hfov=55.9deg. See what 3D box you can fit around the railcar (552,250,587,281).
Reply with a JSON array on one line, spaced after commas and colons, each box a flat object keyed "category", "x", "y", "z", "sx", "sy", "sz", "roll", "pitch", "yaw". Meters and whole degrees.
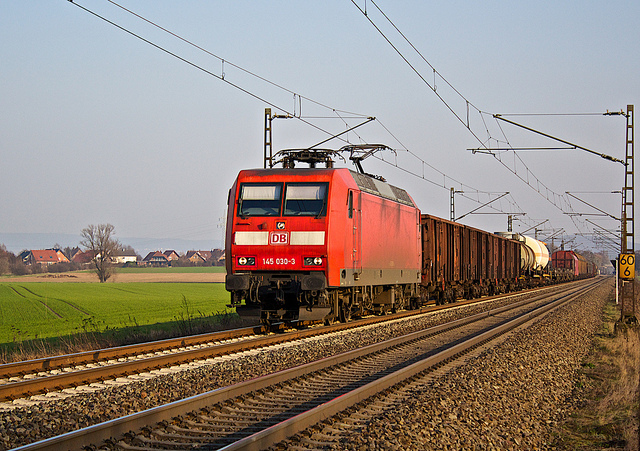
[{"category": "railcar", "x": 34.784, "y": 5.762, "z": 85.101, "sx": 3.522, "sy": 5.784, "sz": 18.635, "roll": -2, "pitch": -7, "yaw": 19}]
